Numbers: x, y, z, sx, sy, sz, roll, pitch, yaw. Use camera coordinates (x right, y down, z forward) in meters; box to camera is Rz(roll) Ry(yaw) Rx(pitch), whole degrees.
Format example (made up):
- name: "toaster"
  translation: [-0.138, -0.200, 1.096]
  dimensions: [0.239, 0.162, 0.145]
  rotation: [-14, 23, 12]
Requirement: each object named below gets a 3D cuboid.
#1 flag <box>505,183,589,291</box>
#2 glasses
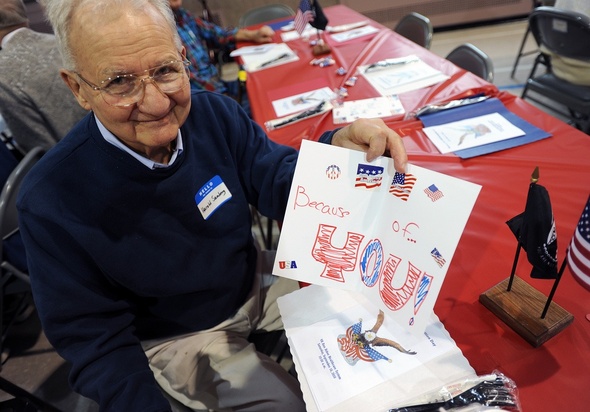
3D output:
- name: "flag"
  translation: [0.802, 0.100, 1.378]
  dimensions: [0.267, 0.292, 0.213]
  rotation: [14, 56, 17]
- name: "glasses"
  translation: [-0.532, -0.415, 1.487]
  dimensions: [0.219, 0.070, 0.226]
  rotation: [-25, 40, -26]
